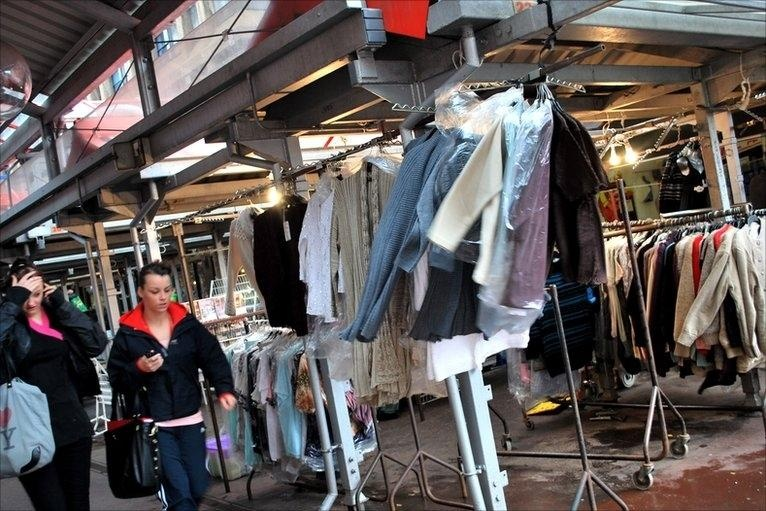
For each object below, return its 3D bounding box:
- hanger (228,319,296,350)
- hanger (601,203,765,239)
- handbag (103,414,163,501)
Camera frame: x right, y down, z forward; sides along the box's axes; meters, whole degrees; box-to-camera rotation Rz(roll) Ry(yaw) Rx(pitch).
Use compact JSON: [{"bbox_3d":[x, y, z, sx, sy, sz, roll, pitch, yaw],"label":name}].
[{"bbox_3d":[-1.375,0.826,6.301,0.493,0.174,0.594,-11,-18,-34],"label":"hanger"},{"bbox_3d":[2.741,-0.324,5.458,1.234,0.190,1.086,-4,-4,6],"label":"hanger"},{"bbox_3d":[-1.766,1.416,4.059,0.401,0.518,0.117,-5,-4,12],"label":"handbag"}]
